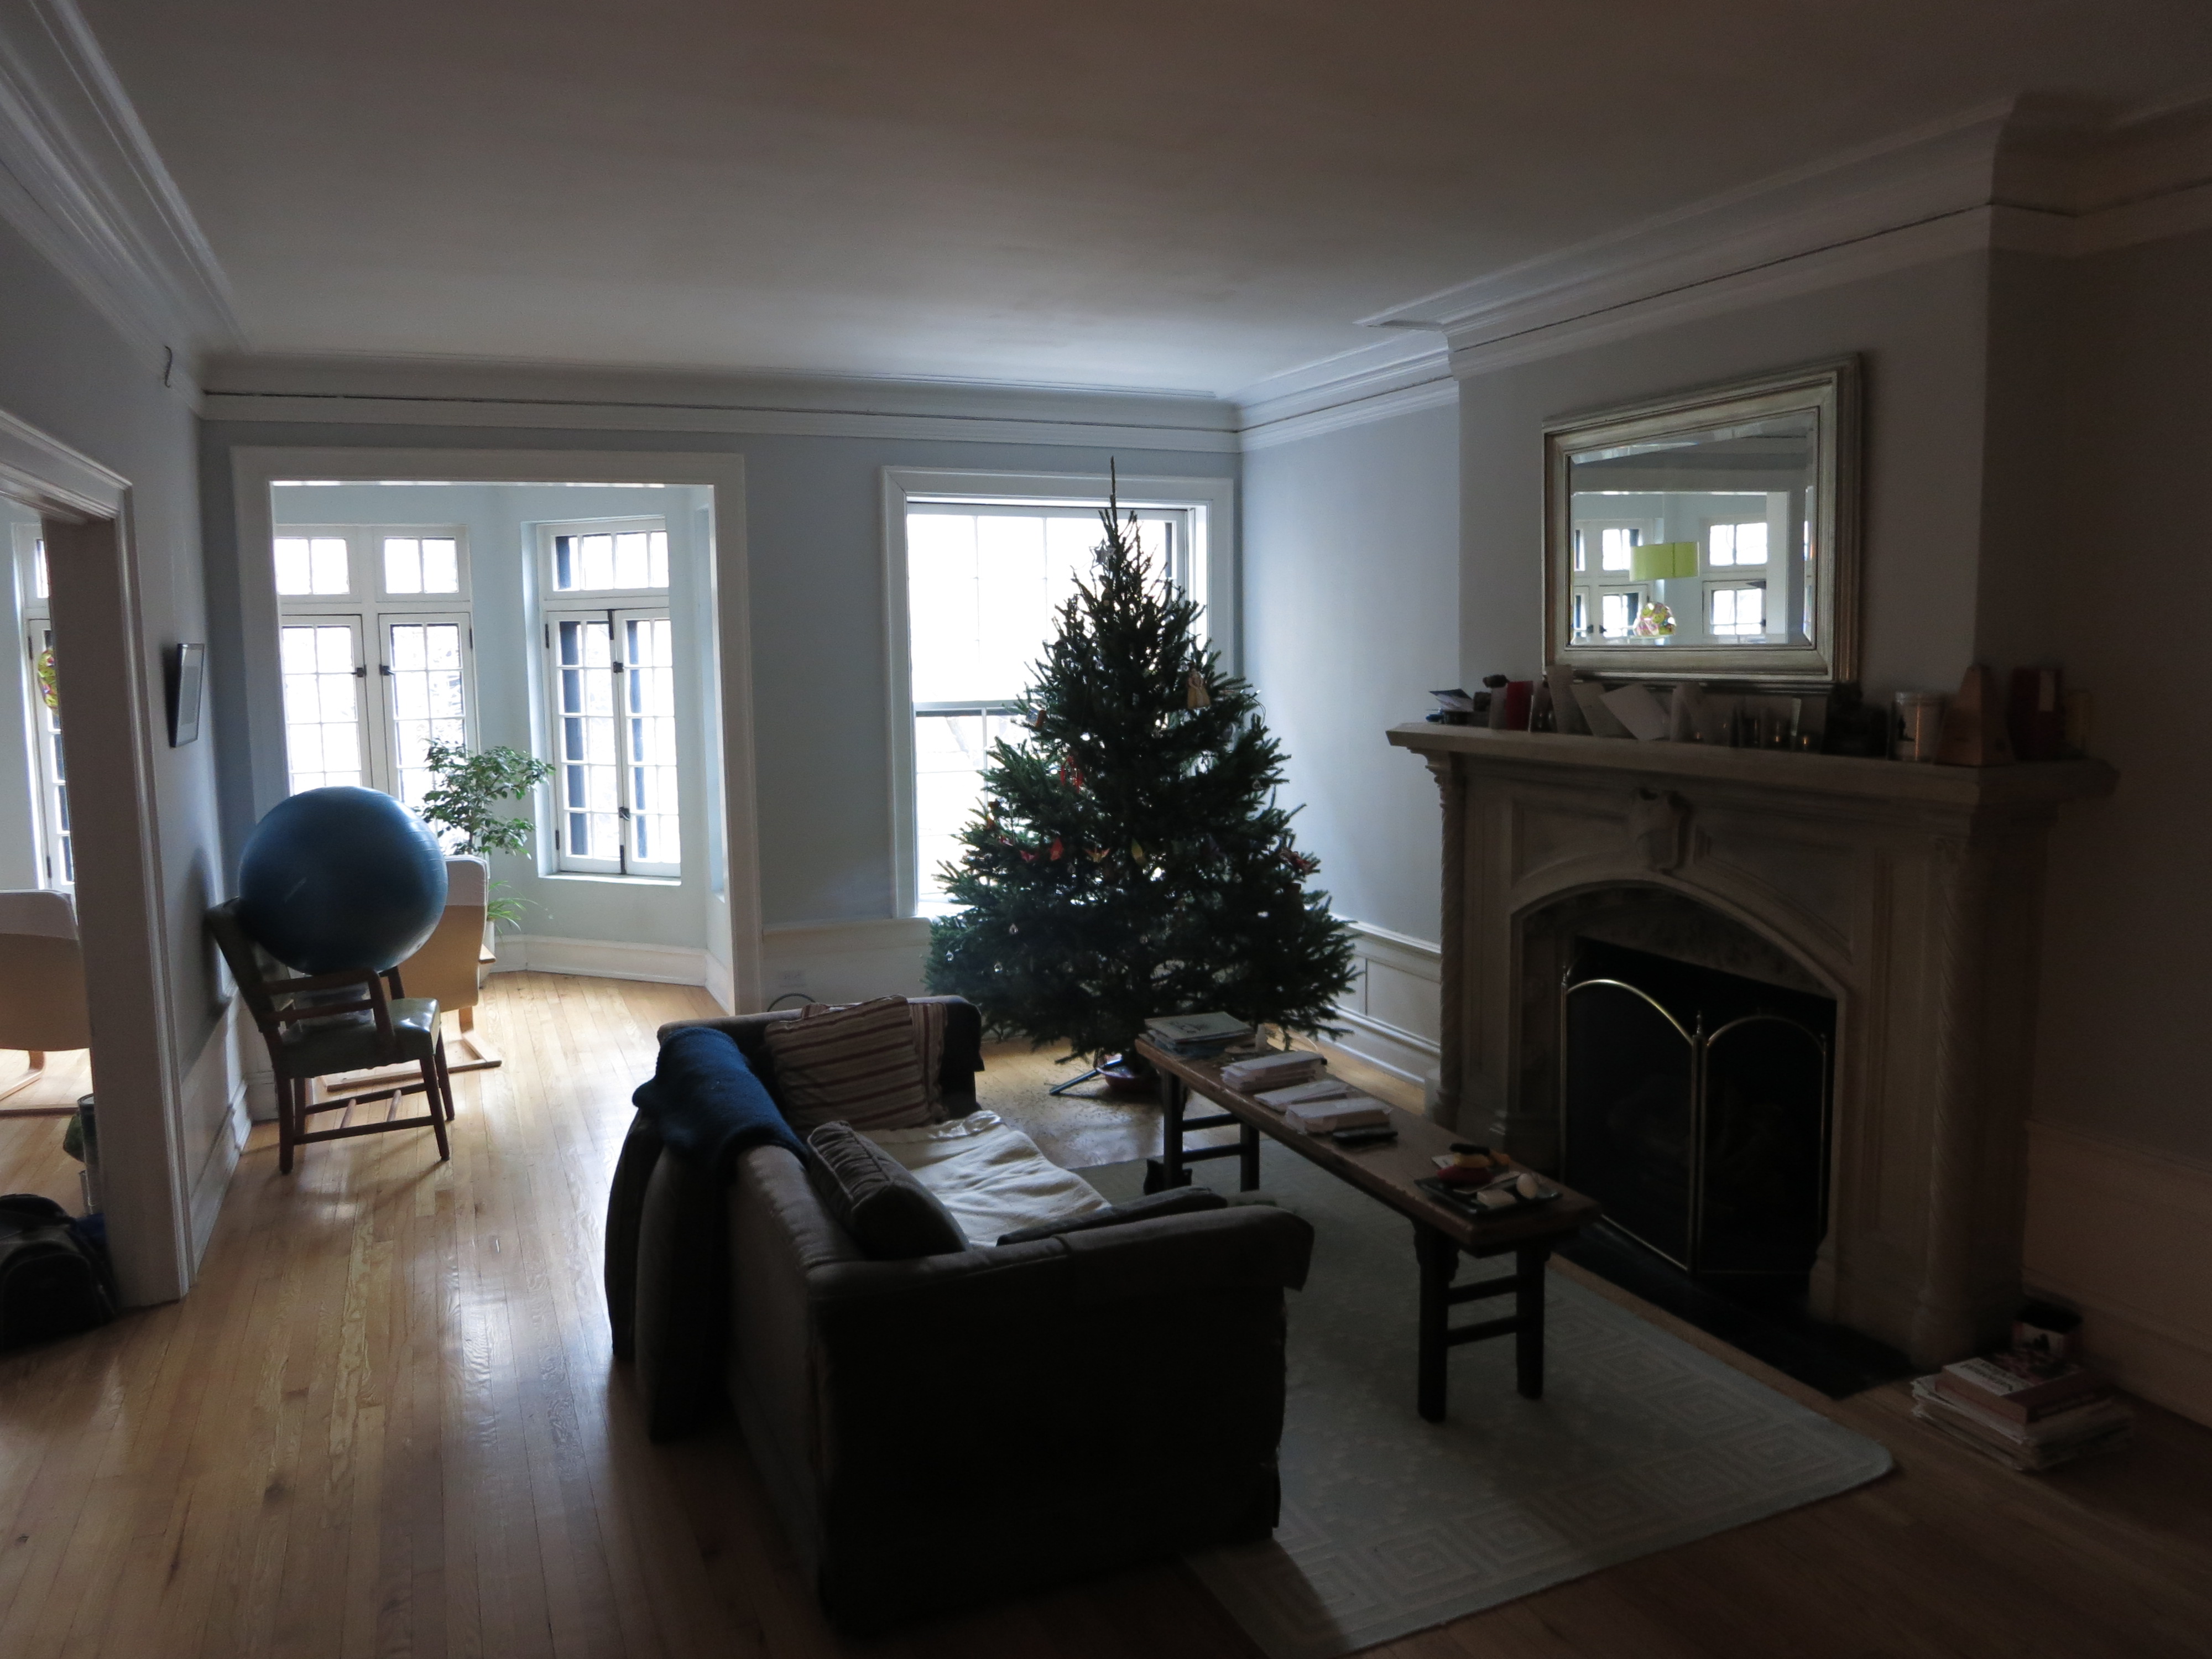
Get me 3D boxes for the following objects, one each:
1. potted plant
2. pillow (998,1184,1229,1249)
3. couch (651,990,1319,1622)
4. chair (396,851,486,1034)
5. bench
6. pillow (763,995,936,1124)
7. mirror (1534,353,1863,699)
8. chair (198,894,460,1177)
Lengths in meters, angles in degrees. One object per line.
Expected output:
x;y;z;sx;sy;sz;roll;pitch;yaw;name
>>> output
0.251;-0.577;7.679;2.132;3.126;2.237;2;12;18;potted plant
-0.006;1.036;4.190;0.274;0.078;0.271;-3;-1;-20;pillow
-0.545;1.248;4.746;1.246;0.946;2.164;-3;10;-25;couch
-3.125;0.533;7.584;0.603;0.789;0.614;-1;9;-22;chair
0.733;1.245;5.140;0.429;0.631;1.877;-1;9;-26;bench
-0.850;0.789;5.248;0.327;0.336;0.119;-11;-16;-29;pillow
1.888;-0.937;5.244;0.081;0.984;1.202;-8;9;-35;mirror
-3.106;0.821;6.400;0.767;1.037;0.714;-7;5;-29;chair
